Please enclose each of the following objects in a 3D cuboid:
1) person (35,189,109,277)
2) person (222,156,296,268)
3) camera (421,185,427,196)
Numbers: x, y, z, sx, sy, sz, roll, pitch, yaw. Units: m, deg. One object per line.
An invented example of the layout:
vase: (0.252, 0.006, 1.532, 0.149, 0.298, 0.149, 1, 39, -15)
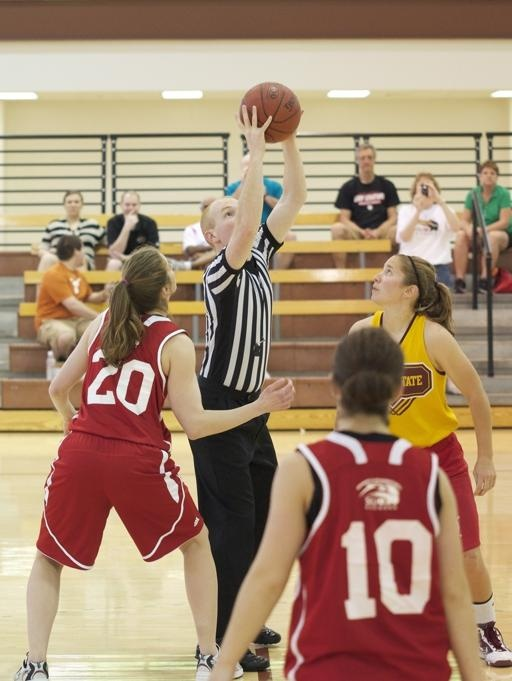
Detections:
person: (-1.529, -0.833, 6.912, 0.510, 0.759, 0.649, 11, 10, 40)
person: (-0.009, -1.038, 6.617, 0.526, 0.904, 0.545, -10, 27, -8)
camera: (1.273, -1.132, 6.301, 0.055, 0.091, 0.075, -2, -3, 12)
